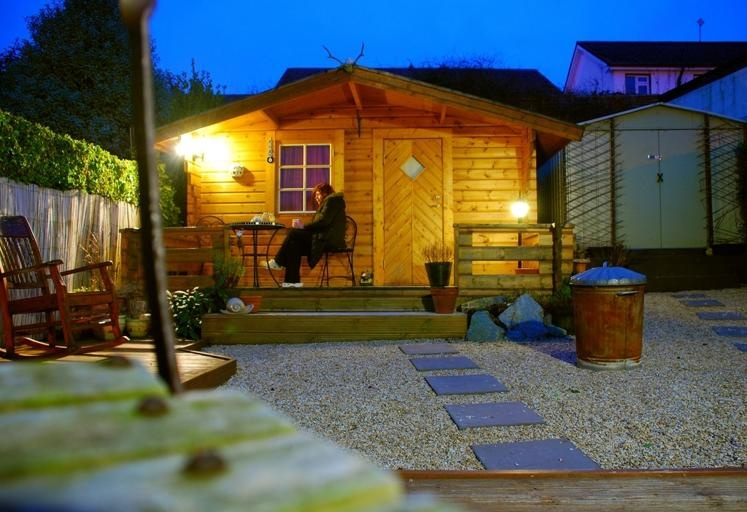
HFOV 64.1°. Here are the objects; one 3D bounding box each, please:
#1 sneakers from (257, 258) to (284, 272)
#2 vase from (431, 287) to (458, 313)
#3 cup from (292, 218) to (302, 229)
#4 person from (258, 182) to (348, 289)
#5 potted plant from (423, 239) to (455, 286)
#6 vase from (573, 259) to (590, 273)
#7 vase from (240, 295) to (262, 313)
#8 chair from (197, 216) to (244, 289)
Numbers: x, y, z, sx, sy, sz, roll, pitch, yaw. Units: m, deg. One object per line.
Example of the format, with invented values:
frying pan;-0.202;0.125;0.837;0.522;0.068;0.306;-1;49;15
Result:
sneakers;-1.826;0.173;10.498;0.478;0.171;0.281;4;3;44
vase;1.077;0.683;9.137;0.408;0.333;0.408;-1;-3;27
cup;-1.393;-0.566;10.838;0.237;0.102;0.314;1;5;-9
person;-1.071;-0.378;10.326;1.271;1.733;0.701;-3;3;-20
potted plant;1.196;0.143;9.766;0.696;0.870;0.701;2;-3;-5
vase;3.829;0.194;11.021;0.271;0.217;0.268;3;-1;-3
vase;-1.864;0.755;9.183;0.269;0.189;0.262;0;-2;-18
chair;-2.634;-0.044;10.476;0.821;1.318;2.930;-2;4;-16
